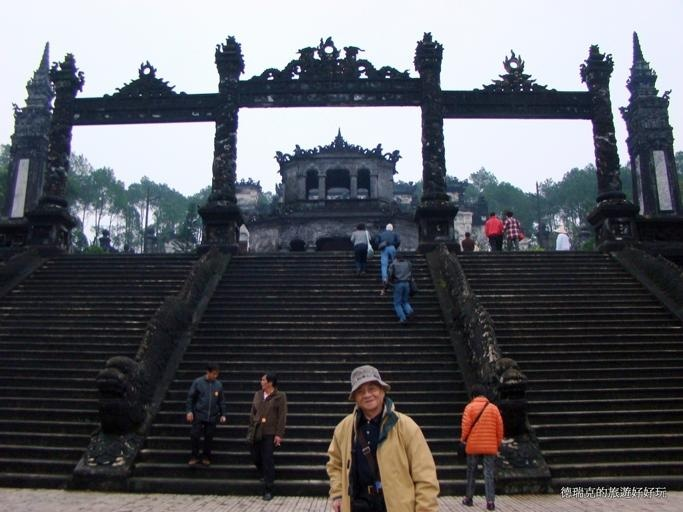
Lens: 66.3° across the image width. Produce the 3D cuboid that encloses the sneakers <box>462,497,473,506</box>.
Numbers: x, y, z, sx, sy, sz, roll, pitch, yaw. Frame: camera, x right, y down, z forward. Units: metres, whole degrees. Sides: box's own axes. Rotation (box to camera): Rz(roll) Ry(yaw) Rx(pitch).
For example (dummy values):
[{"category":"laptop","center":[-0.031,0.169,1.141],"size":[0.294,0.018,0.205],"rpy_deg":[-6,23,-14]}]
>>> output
[{"category":"sneakers","center":[1.684,3.257,6.958],"size":[0.069,0.141,0.142],"rpy_deg":[9,-6,-17]}]

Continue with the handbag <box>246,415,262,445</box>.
[{"category":"handbag","center":[-1.260,2.475,7.466],"size":[0.126,0.379,0.273],"rpy_deg":[3,-4,-42]}]

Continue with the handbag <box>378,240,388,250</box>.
[{"category":"handbag","center":[1.021,-0.288,12.535],"size":[0.162,0.197,0.222],"rpy_deg":[2,-43,-1]}]

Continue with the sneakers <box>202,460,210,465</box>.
[{"category":"sneakers","center":[-2.013,3.046,7.749],"size":[0.045,0.099,0.137],"rpy_deg":[11,-26,-40]}]

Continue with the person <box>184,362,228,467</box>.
[{"category":"person","center":[-2.070,2.369,7.936],"size":[0.534,1.460,0.452],"rpy_deg":[2,-3,-15]}]

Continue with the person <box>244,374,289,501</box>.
[{"category":"person","center":[-1.094,2.547,7.490],"size":[0.524,1.692,0.410],"rpy_deg":[0,-3,13]}]

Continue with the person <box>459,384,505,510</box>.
[{"category":"person","center":[1.933,2.567,7.175],"size":[0.517,1.556,0.764],"rpy_deg":[0,-3,17]}]

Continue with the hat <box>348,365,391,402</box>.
[{"category":"hat","center":[0.243,1.109,4.795],"size":[0.434,0.233,0.347],"rpy_deg":[0,-30,-16]}]
